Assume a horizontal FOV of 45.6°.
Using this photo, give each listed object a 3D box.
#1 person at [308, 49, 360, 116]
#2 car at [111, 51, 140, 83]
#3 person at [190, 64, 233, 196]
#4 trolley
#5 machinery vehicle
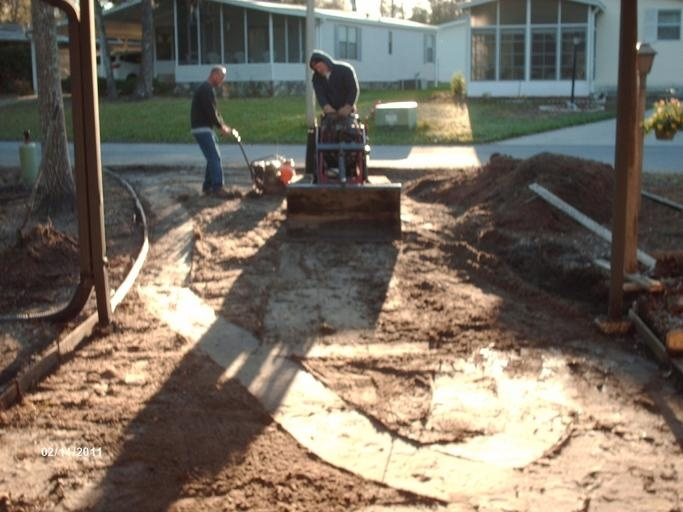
[{"bbox_3d":[-0.121,-2.683,12.520,0.537,1.091,0.618,-8,25,11],"label":"person"},{"bbox_3d":[-10.275,-8.935,38.467,0.954,1.953,1.631,5,19,16],"label":"car"},{"bbox_3d":[-2.113,-1.987,13.151,0.612,2.087,1.451,-3,15,-11],"label":"person"},{"bbox_3d":[-1.293,-1.446,13.986,0.936,1.291,1.046,-3,43,-1],"label":"trolley"},{"bbox_3d":[0.073,-1.142,11.675,0.899,1.312,2.216,0,16,1],"label":"machinery vehicle"}]
